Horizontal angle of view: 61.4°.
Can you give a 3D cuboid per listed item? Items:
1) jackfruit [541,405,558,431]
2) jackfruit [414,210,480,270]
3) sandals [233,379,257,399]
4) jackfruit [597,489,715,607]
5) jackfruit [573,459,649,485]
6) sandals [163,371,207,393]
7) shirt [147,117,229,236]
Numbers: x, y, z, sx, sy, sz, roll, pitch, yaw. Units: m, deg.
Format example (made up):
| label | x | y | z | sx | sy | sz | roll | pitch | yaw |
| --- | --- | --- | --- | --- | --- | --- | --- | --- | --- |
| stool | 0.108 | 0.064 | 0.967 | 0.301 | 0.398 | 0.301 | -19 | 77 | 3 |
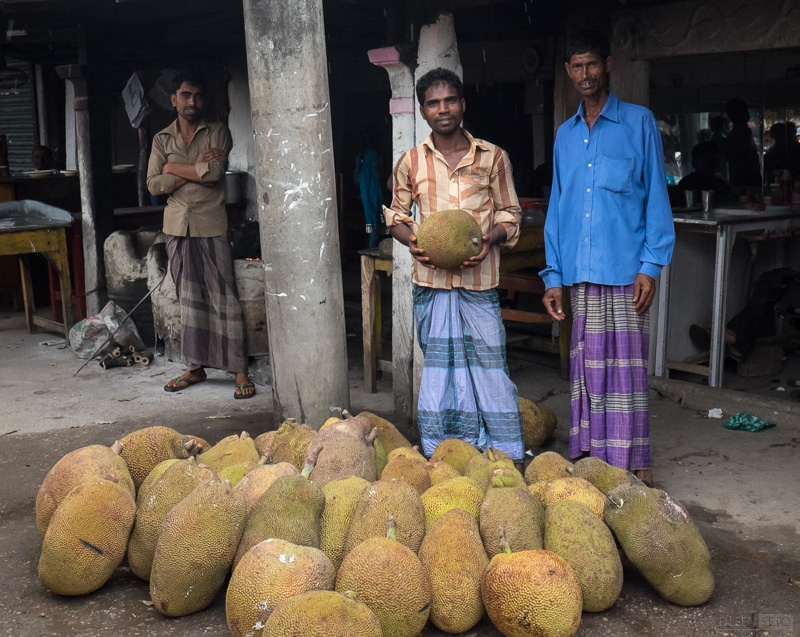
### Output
| label | x | y | z | sx | sy | sz | roll | pitch | yaw |
| --- | --- | --- | --- | --- | --- | --- | --- | --- | --- |
| jackfruit | 0.953 | 0.631 | 4.239 | 0.122 | 0.169 | 0.146 | -4 | -11 | 35 |
| jackfruit | 0.234 | -0.402 | 3.509 | 0.239 | 0.254 | 0.310 | -5 | -1 | -43 |
| sandals | -1.236 | 0.561 | 5.363 | 0.173 | 0.101 | 0.229 | -4 | 11 | -14 |
| jackfruit | 1.060 | 0.915 | 2.809 | 0.305 | 0.515 | 0.262 | -40 | -14 | -5 |
| jackfruit | 0.969 | 0.676 | 3.068 | 0.273 | 0.127 | 0.132 | 13 | -3 | 12 |
| sandals | -1.770 | 0.504 | 5.533 | 0.119 | 0.136 | 0.337 | 7 | 9 | 28 |
| shirt | -1.704 | -1.126 | 5.415 | 0.648 | 0.945 | 0.382 | -2 | 10 | -6 |
